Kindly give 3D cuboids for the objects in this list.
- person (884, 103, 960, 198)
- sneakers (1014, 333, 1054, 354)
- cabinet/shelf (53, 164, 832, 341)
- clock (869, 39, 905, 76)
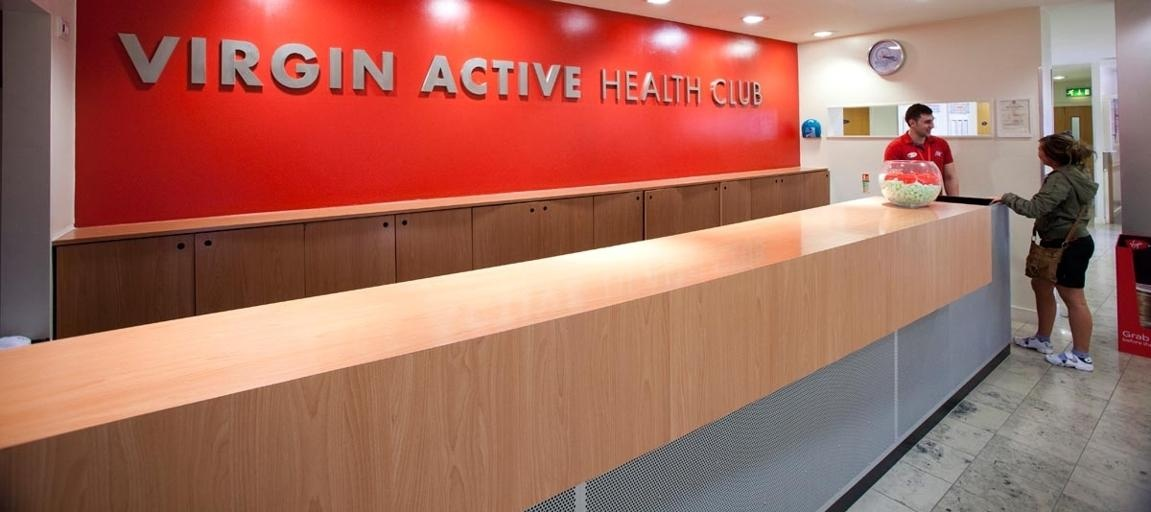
[{"bbox_3d":[4.909,-1.504,9.115,0.928,1.276,0.451,-9,15,-19],"label":"person"},{"bbox_3d":[6.196,1.141,8.742,0.196,0.205,0.509,-9,14,-39],"label":"sneakers"},{"bbox_3d":[-1.683,-0.238,8.541,8.930,1.064,0.648,-8,15,-18],"label":"cabinet/shelf"},{"bbox_3d":[5.131,-3.277,10.635,0.587,0.516,0.125,21,17,35],"label":"clock"}]
